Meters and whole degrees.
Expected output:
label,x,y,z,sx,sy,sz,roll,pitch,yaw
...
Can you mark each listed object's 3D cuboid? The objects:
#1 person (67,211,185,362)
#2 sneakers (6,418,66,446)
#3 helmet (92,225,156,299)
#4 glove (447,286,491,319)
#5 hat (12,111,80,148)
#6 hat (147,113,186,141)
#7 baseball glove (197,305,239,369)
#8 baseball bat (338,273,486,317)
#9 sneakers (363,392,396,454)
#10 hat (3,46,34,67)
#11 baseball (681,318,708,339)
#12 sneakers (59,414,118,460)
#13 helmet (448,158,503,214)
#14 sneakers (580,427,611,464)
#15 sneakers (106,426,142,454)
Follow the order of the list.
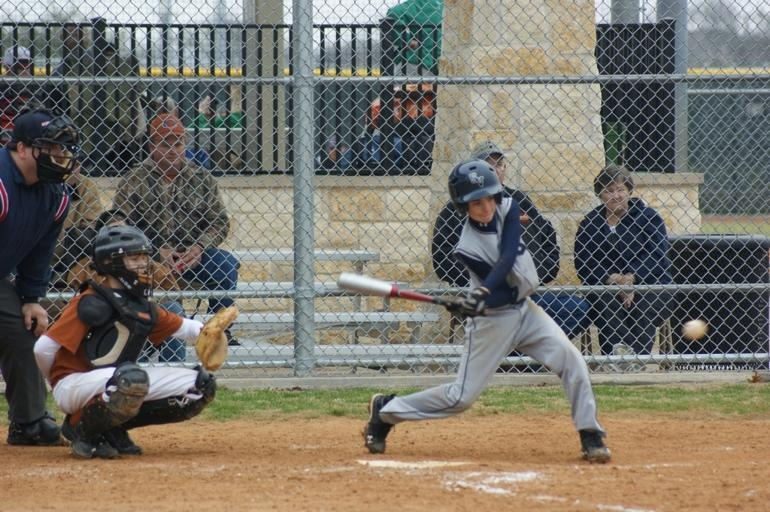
label,x,y,z,sx,sy,sz,roll,pitch,yaw
person,-2.104,0.280,12.582,0.811,1.502,0.510,9,-28,-43
sneakers,-2.747,1.422,11.526,0.501,0.259,0.207,-2,4,-1
helmet,-2.021,0.043,11.034,0.487,0.573,0.443,-2,6,0
glove,0.635,0.372,10.930,0.198,0.134,0.276,-25,-4,-14
hat,-2.593,-0.971,11.058,0.355,0.200,0.281,3,7,6
hat,-1.977,-1.166,12.973,0.203,0.186,0.294,-4,-6,-22
baseball glove,-1.295,0.658,11.033,0.138,0.442,0.356,26,42,4
baseball bat,0.254,0.357,12.448,1.015,0.152,0.183,13,20,-17
sneakers,-0.048,1.334,11.176,0.221,0.546,0.171,2,-10,8
hat,-3.561,-1.941,14.096,0.349,0.283,0.207,-1,7,-10
baseball,2.945,0.672,13.628,0.191,0.141,0.193,-12,-2,-35
sneakers,-2.205,1.423,11.141,0.572,0.276,0.205,6,4,-7
helmet,0.686,-0.519,10.899,0.299,0.318,0.414,-18,34,0
sneakers,1.607,1.462,10.981,0.126,0.286,0.381,2,-14,-14
sneakers,-2.027,1.443,11.194,0.248,0.192,0.088,17,30,15
